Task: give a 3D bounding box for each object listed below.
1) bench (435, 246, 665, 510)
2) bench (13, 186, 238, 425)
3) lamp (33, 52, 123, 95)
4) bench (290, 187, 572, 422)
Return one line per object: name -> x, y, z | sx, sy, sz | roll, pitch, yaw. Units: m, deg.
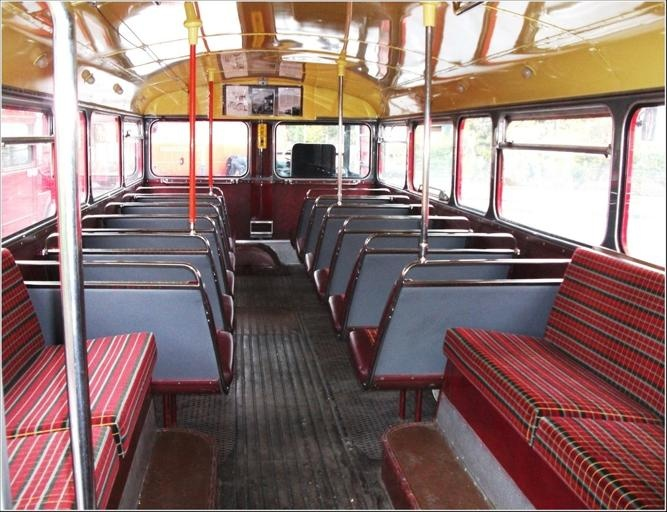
bench -> 1.151, 0.659, 2.576 | 0.649, 0.854, 1.208 | 4, 7, 1
bench -> -1.293, 0.158, 3.571 | 1.429, 0.996, 1.490 | 0, 12, -10
lamp -> -2.452, -1.724, 4.550 | 0.268, 0.259, 1.097 | 18, 13, -48
bench -> 0.725, 0.243, 3.697 | 1.190, 1.193, 1.689 | 0, 9, -5
